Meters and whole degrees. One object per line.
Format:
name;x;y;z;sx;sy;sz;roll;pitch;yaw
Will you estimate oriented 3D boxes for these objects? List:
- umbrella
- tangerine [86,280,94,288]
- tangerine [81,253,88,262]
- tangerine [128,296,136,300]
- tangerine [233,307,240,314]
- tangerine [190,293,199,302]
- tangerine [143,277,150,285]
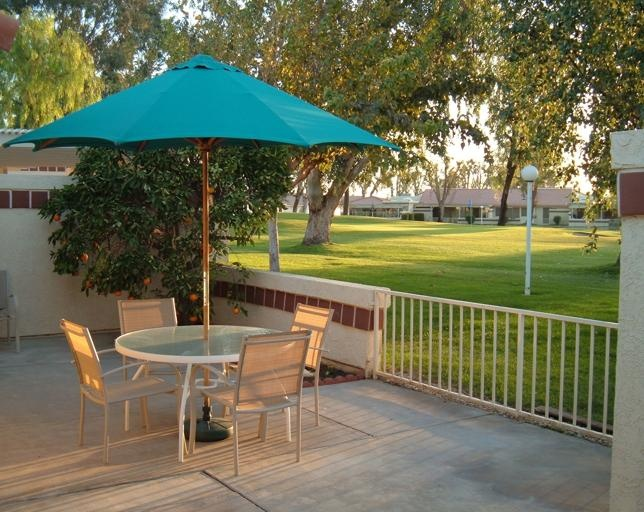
umbrella;-1.160;-0.169;5.266;2.835;2.093;2.889;1;0;-26
tangerine;-3.474;0.422;8.762;0.096;0.109;0.098;-3;-4;36
tangerine;-3.484;0.012;8.529;0.088;0.163;0.099;-2;4;-1
tangerine;-2.789;0.606;8.546;0.060;0.063;0.063;0;-4;-1
tangerine;-1.336;0.832;8.933;0.086;0.126;0.088;1;1;37
tangerine;-1.898;0.611;8.556;0.112;0.125;0.118;6;10;13
tangerine;-2.595;0.363;8.595;0.081;0.088;0.084;-17;10;-2
